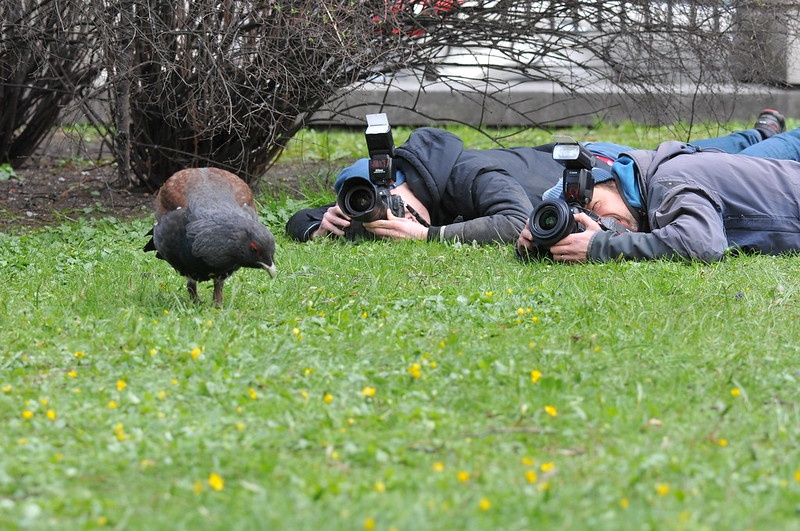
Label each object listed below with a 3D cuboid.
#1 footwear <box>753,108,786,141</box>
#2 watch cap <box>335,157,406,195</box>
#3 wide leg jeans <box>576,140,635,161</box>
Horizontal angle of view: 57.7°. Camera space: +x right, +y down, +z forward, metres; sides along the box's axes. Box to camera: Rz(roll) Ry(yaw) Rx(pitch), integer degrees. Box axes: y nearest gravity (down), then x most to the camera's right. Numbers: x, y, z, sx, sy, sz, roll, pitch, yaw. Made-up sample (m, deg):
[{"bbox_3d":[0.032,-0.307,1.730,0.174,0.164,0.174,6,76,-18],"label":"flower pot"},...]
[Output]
[{"bbox_3d":[3.792,-1.476,7.495,0.242,0.259,0.652,9,28,20],"label":"footwear"},{"bbox_3d":[-0.280,-0.800,6.217,0.473,0.166,0.321,-6,33,3],"label":"watch cap"},{"bbox_3d":[1.845,-1.027,6.509,0.477,0.128,0.356,3,2,-43],"label":"wide leg jeans"}]
